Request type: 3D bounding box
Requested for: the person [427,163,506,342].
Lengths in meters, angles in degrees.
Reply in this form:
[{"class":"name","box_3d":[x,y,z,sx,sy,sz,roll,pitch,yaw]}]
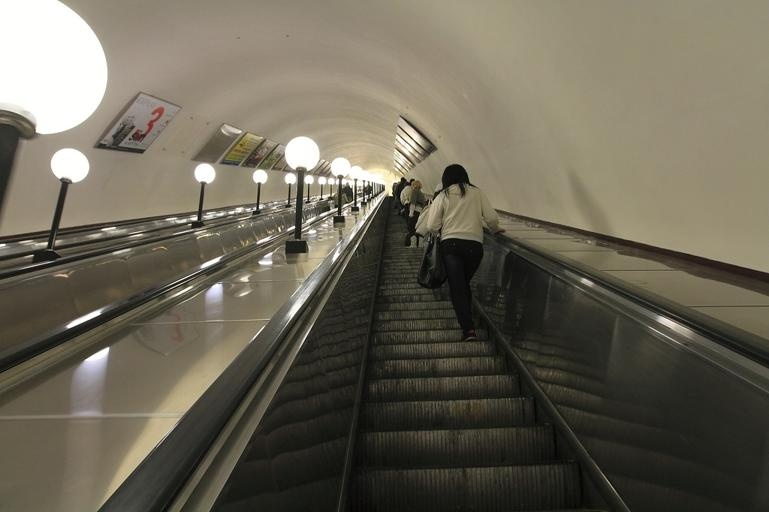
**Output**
[{"class":"person","box_3d":[0.845,-0.050,4.573,0.750,1.249,0.553,11,8,16]}]
